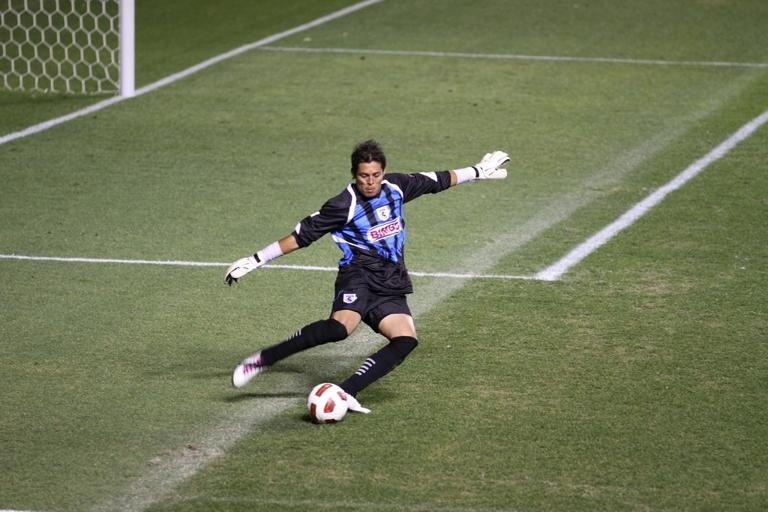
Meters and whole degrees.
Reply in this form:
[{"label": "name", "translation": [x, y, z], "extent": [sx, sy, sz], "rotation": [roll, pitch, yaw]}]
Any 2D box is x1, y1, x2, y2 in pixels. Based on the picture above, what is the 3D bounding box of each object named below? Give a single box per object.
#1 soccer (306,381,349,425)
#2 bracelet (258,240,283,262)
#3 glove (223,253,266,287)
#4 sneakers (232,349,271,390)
[{"label": "soccer", "translation": [-0.475, 1.173, 8.883], "extent": [0.373, 0.286, 0.316], "rotation": [12, 34, 11]}, {"label": "bracelet", "translation": [-0.943, -0.038, 9.193], "extent": [0.246, 0.124, 0.103], "rotation": [-26, -11, 5]}, {"label": "glove", "translation": [-1.230, 0.116, 9.224], "extent": [0.371, 0.132, 0.273], "rotation": [-18, 8, 33]}, {"label": "sneakers", "translation": [-1.113, 0.919, 8.999], "extent": [0.243, 0.350, 0.116], "rotation": [1, 25, -8]}]
